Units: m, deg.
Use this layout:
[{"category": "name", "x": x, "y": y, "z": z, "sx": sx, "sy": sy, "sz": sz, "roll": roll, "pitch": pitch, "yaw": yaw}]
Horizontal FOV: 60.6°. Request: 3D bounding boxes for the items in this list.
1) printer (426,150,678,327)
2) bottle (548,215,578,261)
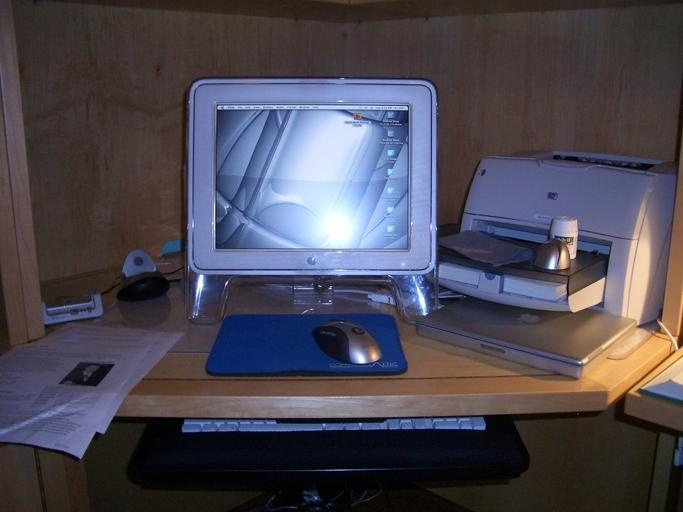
[{"category": "printer", "x": 0.539, "y": -0.084, "z": 1.409, "sx": 0.377, "sy": 0.337, "sz": 0.536, "roll": 14, "pitch": 38, "yaw": 36}, {"category": "bottle", "x": 0.508, "y": -0.040, "z": 1.337, "sx": 0.069, "sy": 0.081, "sz": 0.109, "roll": 11, "pitch": 20, "yaw": 19}]
